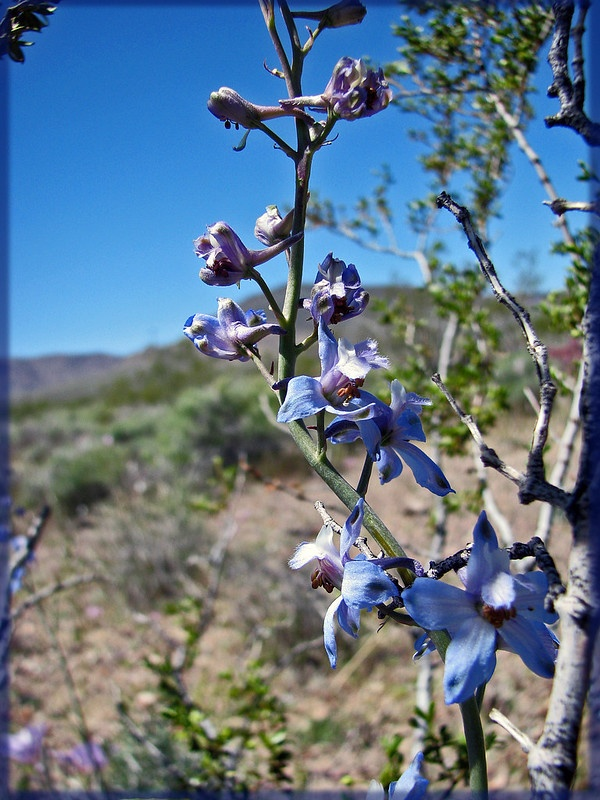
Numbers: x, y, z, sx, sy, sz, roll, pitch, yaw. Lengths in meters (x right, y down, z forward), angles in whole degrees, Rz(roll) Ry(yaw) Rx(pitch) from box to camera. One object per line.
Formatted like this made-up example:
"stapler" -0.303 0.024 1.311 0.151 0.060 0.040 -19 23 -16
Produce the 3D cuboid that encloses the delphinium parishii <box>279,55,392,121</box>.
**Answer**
"delphinium parishii" 0.035 -0.490 1.272 0.201 0.091 0.119 -6 25 9
